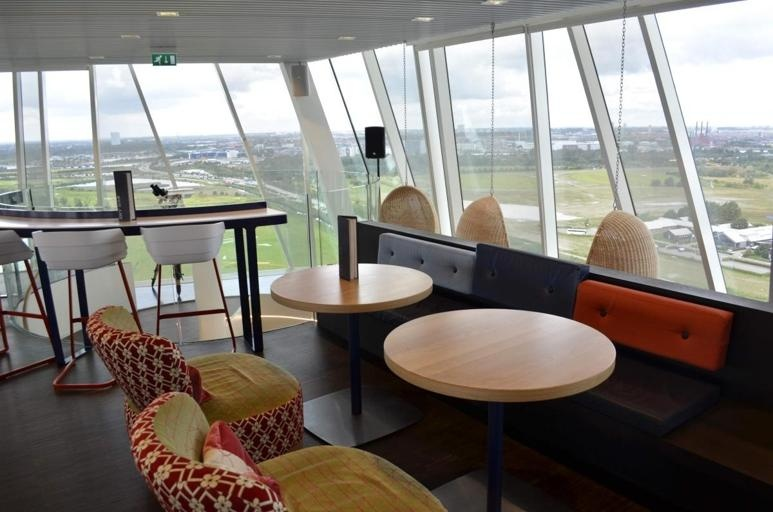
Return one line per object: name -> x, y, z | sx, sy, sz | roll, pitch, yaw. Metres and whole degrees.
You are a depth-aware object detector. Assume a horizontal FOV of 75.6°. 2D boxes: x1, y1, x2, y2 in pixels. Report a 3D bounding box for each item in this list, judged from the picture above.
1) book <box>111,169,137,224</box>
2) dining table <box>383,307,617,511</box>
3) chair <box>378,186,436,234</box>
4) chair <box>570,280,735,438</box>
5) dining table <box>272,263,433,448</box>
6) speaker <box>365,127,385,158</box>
book -> -2.545, -0.579, 4.811 | 0.217, 0.496, 0.237 | -15, 13, -25
dining table -> 0.469, 0.918, 3.271 | 1.430, 1.301, 1.197 | 2, 29, 10
chair -> 0.271, -0.599, 6.272 | 0.405, 0.565, 0.802 | -18, 14, -39
chair -> 1.651, 0.558, 3.206 | 0.865, 0.668, 1.096 | -19, 24, -36
dining table -> -0.294, 0.698, 4.145 | 1.433, 1.096, 1.438 | 15, 21, 42
speaker -> -0.213, -1.839, 8.090 | 0.353, 0.520, 0.263 | -6, 12, 14
